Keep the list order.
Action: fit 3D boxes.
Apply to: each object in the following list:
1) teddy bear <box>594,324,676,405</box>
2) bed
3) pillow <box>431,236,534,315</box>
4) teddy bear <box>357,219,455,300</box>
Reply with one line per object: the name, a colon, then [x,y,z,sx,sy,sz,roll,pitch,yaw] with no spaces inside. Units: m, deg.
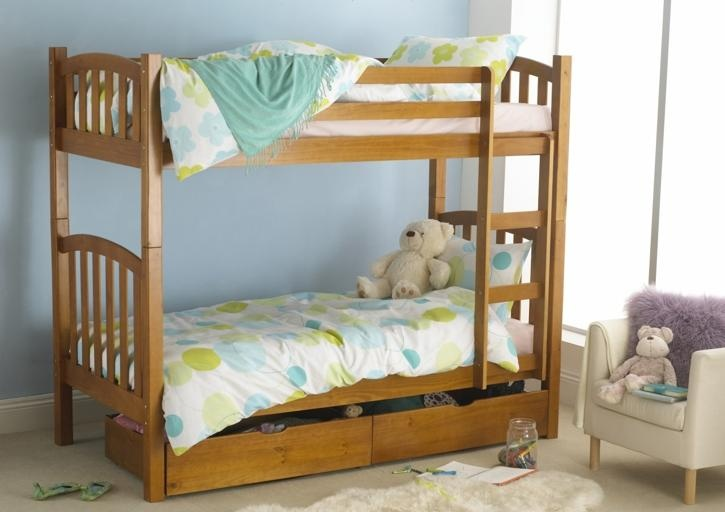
teddy bear: [1.407,0.533,3.639,0.410,0.368,0.350,-1,3,-33]
bed: [-0.487,-0.108,4.364,2.368,1.940,1.311,-8,12,-38]
pillow: [0.745,0.080,4.279,0.545,0.359,0.209,-13,-32,39]
teddy bear: [0.275,0.028,4.446,0.548,0.559,0.465,9,3,31]
